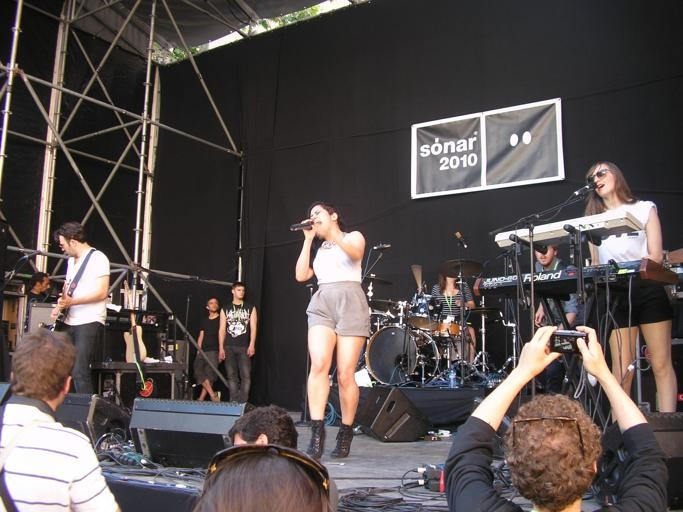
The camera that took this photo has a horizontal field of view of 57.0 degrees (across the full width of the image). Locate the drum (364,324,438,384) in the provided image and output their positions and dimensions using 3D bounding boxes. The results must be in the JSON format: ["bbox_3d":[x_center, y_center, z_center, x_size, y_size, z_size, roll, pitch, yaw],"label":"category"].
[{"bbox_3d":[0.661,1.021,6.624,0.739,0.790,0.574,3,-6,39],"label":"drum"}]

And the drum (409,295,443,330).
[{"bbox_3d":[0.931,0.629,6.775,0.355,0.348,0.365,-5,-34,45],"label":"drum"}]

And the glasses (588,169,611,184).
[{"bbox_3d":[1.635,-0.510,3.990,0.098,0.034,0.098,30,-31,-10],"label":"glasses"}]

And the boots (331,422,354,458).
[{"bbox_3d":[0.012,1.175,4.022,0.093,0.183,0.260,-2,10,28],"label":"boots"}]

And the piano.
[{"bbox_3d":[1.350,0.142,3.659,1.087,0.141,0.385,-8,-11,28],"label":"piano"}]

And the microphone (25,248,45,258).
[{"bbox_3d":[-3.283,-0.037,6.703,0.058,0.098,0.257,-5,6,-36],"label":"microphone"}]

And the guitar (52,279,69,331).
[{"bbox_3d":[-2.370,0.416,5.279,0.060,0.155,0.371,8,-34,-20],"label":"guitar"}]

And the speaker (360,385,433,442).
[{"bbox_3d":[0.418,1.193,5.059,0.416,0.358,0.498,4,-8,-16],"label":"speaker"}]

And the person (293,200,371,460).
[{"bbox_3d":[-0.046,0.452,4.042,0.454,1.651,0.422,-1,-9,-5],"label":"person"}]

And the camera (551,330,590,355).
[{"bbox_3d":[0.769,0.295,2.120,0.096,0.076,0.025,2,22,23],"label":"camera"}]

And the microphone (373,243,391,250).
[{"bbox_3d":[0.486,-0.117,7.348,0.158,0.047,0.065,-6,-11,27],"label":"microphone"}]

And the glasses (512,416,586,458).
[{"bbox_3d":[0.563,0.488,1.706,0.190,0.105,0.042,-6,-9,19],"label":"glasses"}]

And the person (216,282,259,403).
[{"bbox_3d":[-1.378,1.115,8.331,0.474,1.527,0.376,0,-9,-13],"label":"person"}]

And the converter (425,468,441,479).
[{"bbox_3d":[0.470,1.081,3.152,0.054,0.025,0.056,-2,-2,-1],"label":"converter"}]
